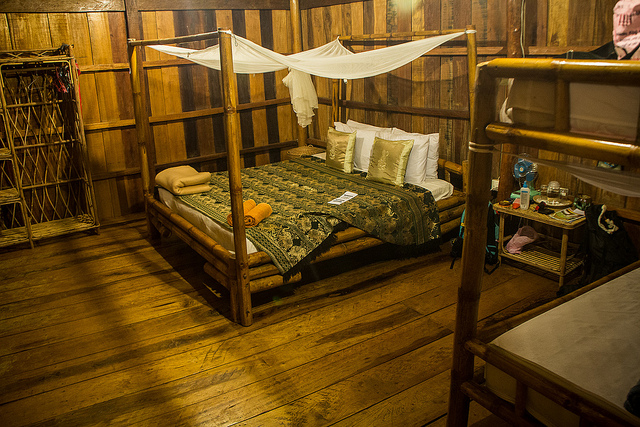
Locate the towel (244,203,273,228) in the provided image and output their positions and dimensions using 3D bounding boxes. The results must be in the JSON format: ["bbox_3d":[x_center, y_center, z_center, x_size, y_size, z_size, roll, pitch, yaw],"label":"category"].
[{"bbox_3d":[-0.670,0.042,4.426,0.229,0.124,0.338,-22,8,20],"label":"towel"}]

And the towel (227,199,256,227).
[{"bbox_3d":[-0.760,-0.017,4.412,0.224,0.075,0.259,3,16,12],"label":"towel"}]
